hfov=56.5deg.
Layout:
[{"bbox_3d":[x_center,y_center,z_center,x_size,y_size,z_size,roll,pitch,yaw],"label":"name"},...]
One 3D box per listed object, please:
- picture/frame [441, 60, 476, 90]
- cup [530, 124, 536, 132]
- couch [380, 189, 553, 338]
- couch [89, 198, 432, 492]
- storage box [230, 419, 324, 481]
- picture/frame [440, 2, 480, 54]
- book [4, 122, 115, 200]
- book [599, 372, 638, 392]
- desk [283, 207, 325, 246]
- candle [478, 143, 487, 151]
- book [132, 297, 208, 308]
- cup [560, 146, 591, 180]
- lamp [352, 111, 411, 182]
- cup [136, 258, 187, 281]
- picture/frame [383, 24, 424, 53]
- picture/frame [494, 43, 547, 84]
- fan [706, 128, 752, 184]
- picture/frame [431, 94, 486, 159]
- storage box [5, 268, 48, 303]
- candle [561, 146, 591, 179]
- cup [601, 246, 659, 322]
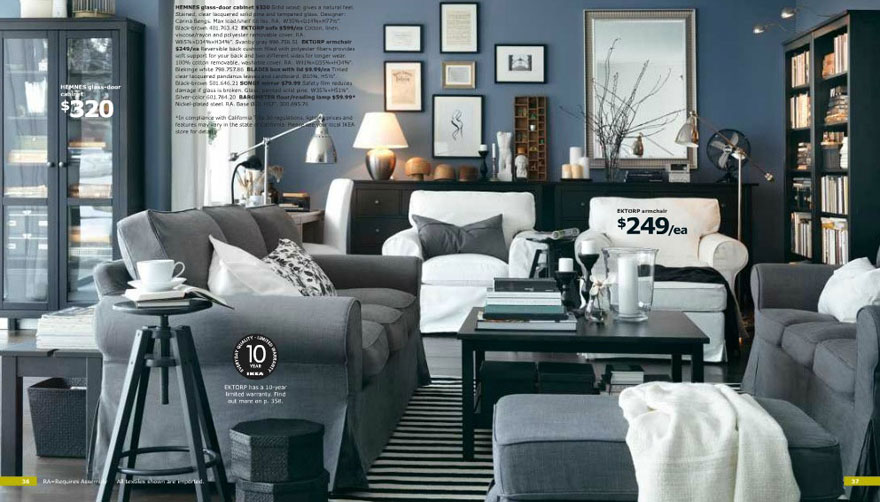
[{"bbox_3d":[0.201,-1.838,8.492,0.320,0.252,0.024,0,4,0],"label":"picture/frame"},{"bbox_3d":[0.956,-1.271,8.443,0.061,0.049,0.065,-1,-2,0],"label":"cup"},{"bbox_3d":[0.218,0.008,7.276,1.574,1.474,1.206,0,-2,7],"label":"couch"},{"bbox_3d":[-1.100,0.581,5.458,1.668,1.507,2.511,0,0,1],"label":"couch"},{"bbox_3d":[-0.910,1.082,4.589,0.371,0.171,0.365,-1,-3,3],"label":"storage box"},{"bbox_3d":[0.209,-2.323,8.459,0.539,0.628,0.037,0,3,-3],"label":"picture/frame"},{"bbox_3d":[-3.363,-0.804,7.199,1.005,0.680,0.056,1,4,7],"label":"book"},{"bbox_3d":[1.114,0.807,5.078,0.145,0.090,0.143,0,2,10],"label":"book"},{"bbox_3d":[-1.310,-0.250,7.930,0.516,0.344,0.270,0,8,2],"label":"desk"},{"bbox_3d":[0.435,-1.060,8.376,0.080,0.073,0.079,1,6,6],"label":"candle"},{"bbox_3d":[-1.479,0.281,4.479,0.411,0.053,0.088,0,3,-4],"label":"book"},{"bbox_3d":[1.375,-0.891,8.329,0.270,0.317,0.211,1,4,8],"label":"cup"},{"bbox_3d":[-0.679,-1.107,8.510,0.673,0.719,0.654,-4,8,-22],"label":"lamp"},{"bbox_3d":[-1.559,0.107,4.539,0.214,0.093,0.161,0,-2,-14],"label":"cup"},{"bbox_3d":[-0.373,-2.209,8.489,0.312,0.219,0.034,0,2,1],"label":"picture/frame"},{"bbox_3d":[0.848,-1.945,8.453,0.429,0.314,0.028,0,6,1],"label":"picture/frame"},{"bbox_3d":[2.937,-0.979,8.329,0.440,0.529,0.298,1,4,14],"label":"fan"},{"bbox_3d":[0.208,-1.323,8.519,0.706,0.825,0.031,1,6,1],"label":"picture/frame"},{"bbox_3d":[-3.655,0.288,7.390,0.346,0.327,0.339,2,2,33],"label":"storage box"},{"bbox_3d":[1.375,-0.890,8.292,0.357,0.343,0.251,-2,3,-16],"label":"candle"},{"bbox_3d":[1.221,0.187,5.264,0.470,0.528,0.417,1,5,17],"label":"cup"}]
